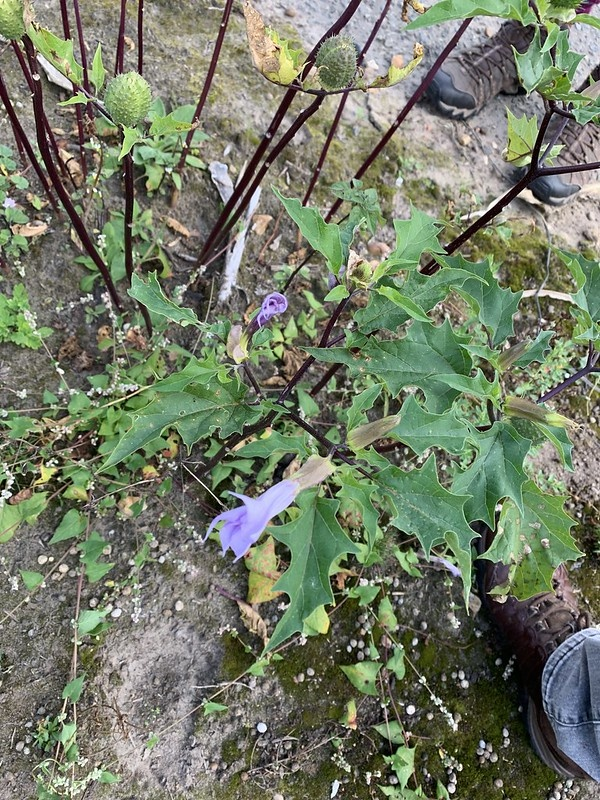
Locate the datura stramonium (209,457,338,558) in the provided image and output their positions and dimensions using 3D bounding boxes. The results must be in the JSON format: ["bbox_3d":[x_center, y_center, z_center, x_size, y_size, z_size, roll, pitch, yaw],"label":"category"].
[{"bbox_3d":[-0.063,0.219,1.344,0.091,0.203,0.307,33,25,17],"label":"datura stramonium"}]
